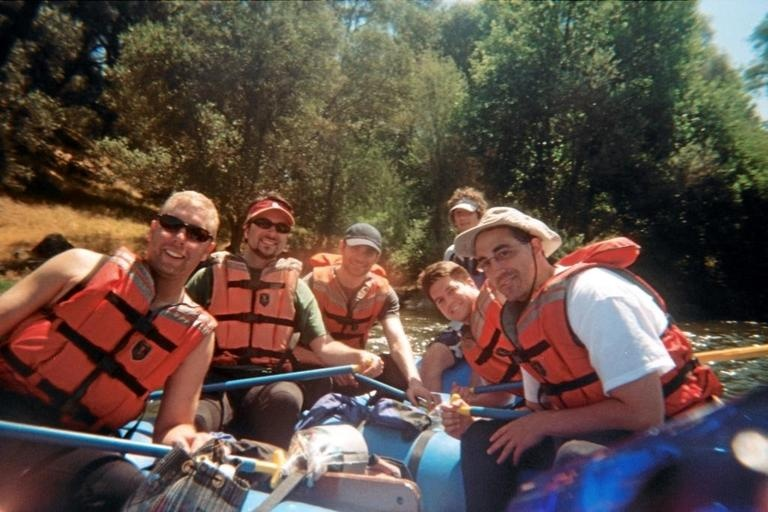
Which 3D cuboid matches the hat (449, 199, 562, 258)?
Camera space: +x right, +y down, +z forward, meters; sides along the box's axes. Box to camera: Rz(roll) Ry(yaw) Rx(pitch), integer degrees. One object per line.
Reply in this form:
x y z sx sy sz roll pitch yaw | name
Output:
0.765 -0.149 2.818 0.429 0.169 0.406 8 -29 -10 | hat
